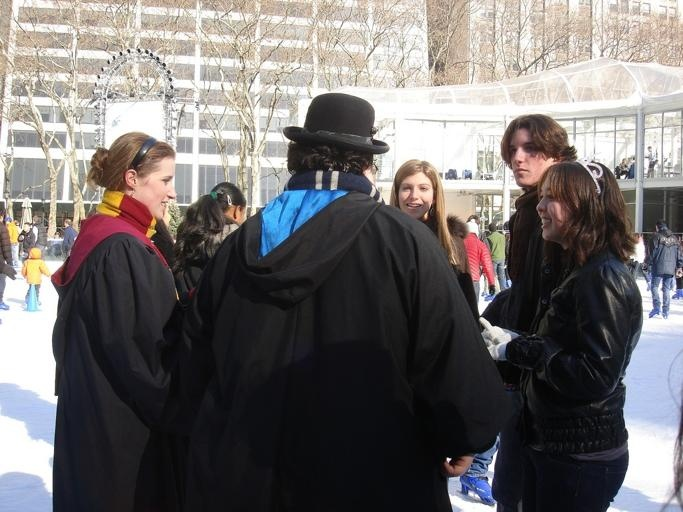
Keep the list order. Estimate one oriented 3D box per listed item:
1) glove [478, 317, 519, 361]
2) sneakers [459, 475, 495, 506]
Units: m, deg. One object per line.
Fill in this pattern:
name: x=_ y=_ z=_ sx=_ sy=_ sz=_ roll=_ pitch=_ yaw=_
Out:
glove: x=0.851 y=0.468 z=3.917 sx=0.207 sy=0.237 sz=0.089 roll=12 pitch=-9 yaw=42
sneakers: x=1.017 y=1.746 z=5.378 sx=0.131 sy=0.182 sz=0.362 roll=-2 pitch=5 yaw=-44
